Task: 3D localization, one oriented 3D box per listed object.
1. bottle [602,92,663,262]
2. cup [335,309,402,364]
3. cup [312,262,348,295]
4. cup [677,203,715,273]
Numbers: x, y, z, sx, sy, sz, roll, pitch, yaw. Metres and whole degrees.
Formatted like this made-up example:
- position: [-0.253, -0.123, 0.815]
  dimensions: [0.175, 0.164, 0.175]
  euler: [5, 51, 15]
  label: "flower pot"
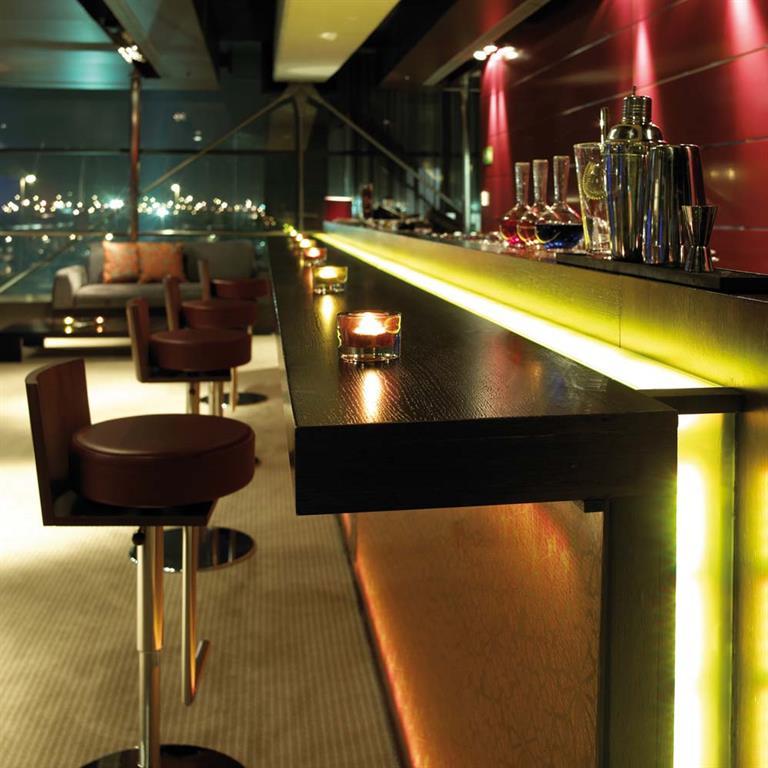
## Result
- position: [0.438, -0.376, 1.302]
  dimensions: [0.103, 0.306, 0.250]
  euler: [3, 9, 19]
  label: "bottle"
- position: [-0.030, -0.078, 1.152]
  dimensions: [0.112, 0.079, 0.119]
  euler: [0, 10, 0]
  label: "cup"
- position: [-0.163, -0.317, 2.179]
  dimensions: [0.084, 0.079, 0.094]
  euler: [0, 9, -4]
  label: "cup"
- position: [0.460, -0.217, 1.075]
  dimensions: [0.047, 0.102, 0.165]
  euler: [4, 10, 22]
  label: "cup"
